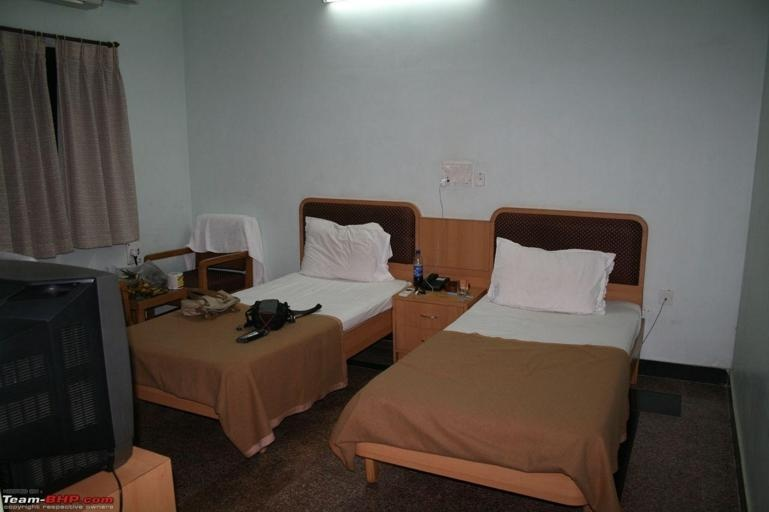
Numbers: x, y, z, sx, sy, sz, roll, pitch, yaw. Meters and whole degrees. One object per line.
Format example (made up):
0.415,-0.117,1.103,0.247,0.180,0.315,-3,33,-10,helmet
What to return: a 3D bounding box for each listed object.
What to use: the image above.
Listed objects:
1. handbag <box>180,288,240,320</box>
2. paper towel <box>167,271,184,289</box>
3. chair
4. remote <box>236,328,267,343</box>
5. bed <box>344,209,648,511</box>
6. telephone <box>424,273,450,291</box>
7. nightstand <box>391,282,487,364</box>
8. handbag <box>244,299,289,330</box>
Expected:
-1.416,0.391,4.289,0.292,0.123,0.288,5,6,35,handbag
-2.019,0.246,5.102,0.115,0.143,0.159,15,23,32,paper towel
-1.911,0.117,5.746,1.023,1.096,0.812,4,9,21,chair
-0.976,0.587,3.835,0.089,0.044,0.162,6,8,30,remote
1.087,0.688,3.875,1.594,1.245,2.430,5,15,27,bed
0.498,0.238,4.932,0.148,0.086,0.206,13,22,26,telephone
0.527,0.498,4.854,0.759,0.757,0.582,2,7,27,nightstand
-0.895,0.446,4.008,0.282,0.125,0.210,-2,8,-17,handbag
